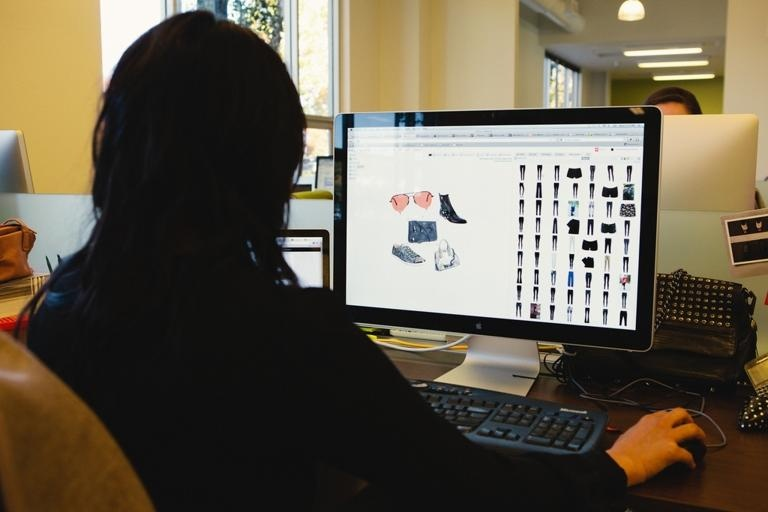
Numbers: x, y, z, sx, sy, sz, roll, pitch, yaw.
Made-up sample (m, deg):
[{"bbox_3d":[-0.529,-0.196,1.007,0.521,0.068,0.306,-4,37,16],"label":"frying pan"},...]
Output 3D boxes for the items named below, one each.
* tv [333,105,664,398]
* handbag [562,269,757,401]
[{"bbox_3d":[0.230,-0.021,1.139,0.542,0.465,0.143,3,9,22],"label":"tv"},{"bbox_3d":[0.615,0.195,1.297,0.352,0.186,0.486,-1,24,36],"label":"handbag"}]
